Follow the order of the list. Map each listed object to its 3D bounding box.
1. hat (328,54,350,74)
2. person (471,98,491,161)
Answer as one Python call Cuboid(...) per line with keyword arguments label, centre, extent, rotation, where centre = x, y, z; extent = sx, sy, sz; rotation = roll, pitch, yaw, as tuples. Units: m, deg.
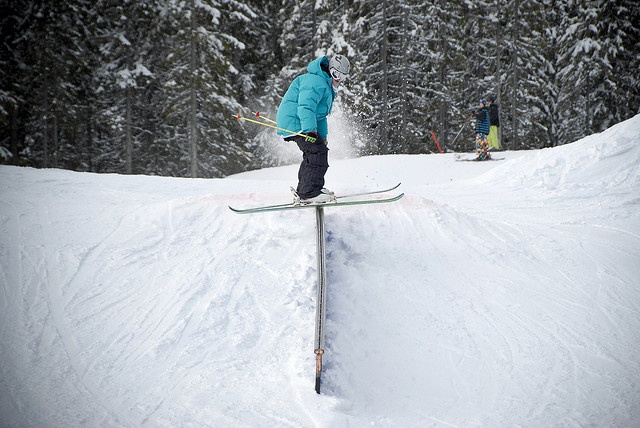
Cuboid(label="hat", centre=(0.472, -3.593, 14.053), extent=(0.468, 0.446, 0.398), rotation=(20, 45, -5))
Cuboid(label="person", centre=(6.023, -3.082, 21.581), extent=(0.566, 2.202, 1.279), rotation=(2, 4, 15))
